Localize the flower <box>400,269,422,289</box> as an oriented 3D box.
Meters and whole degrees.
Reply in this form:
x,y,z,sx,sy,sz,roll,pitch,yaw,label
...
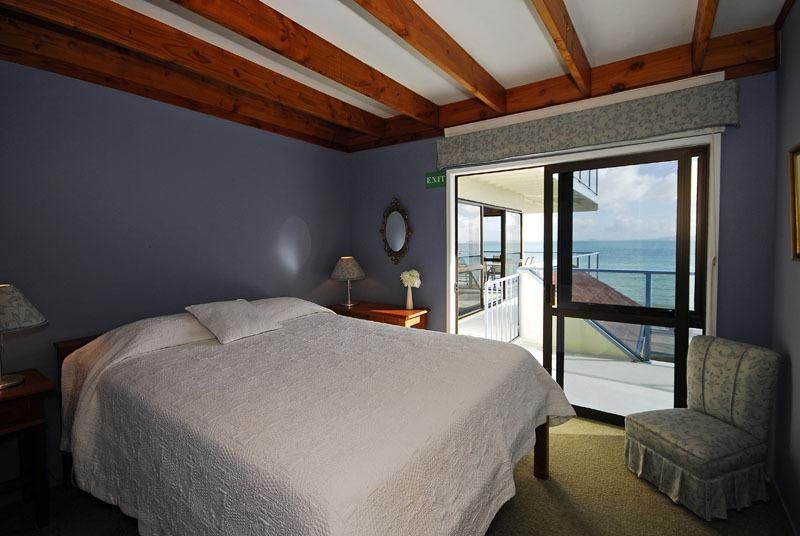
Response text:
x,y,z,sx,sy,sz,roll,pitch,yaw,label
0.110,0.147,5.779,0.243,0.237,0.200,1,6,12,flower

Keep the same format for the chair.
x,y,z,sx,sy,sz,roll,pitch,yaw,label
2.419,1.274,4.013,0.834,1.305,0.658,-3,6,-18,chair

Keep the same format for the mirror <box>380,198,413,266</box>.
x,y,z,sx,sy,sz,roll,pitch,yaw,label
-0.063,-0.432,5.895,0.431,0.804,0.071,4,8,38,mirror

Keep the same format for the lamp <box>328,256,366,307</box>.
x,y,z,sx,sy,sz,roll,pitch,yaw,label
-0.649,0.191,6.086,0.407,0.662,0.409,-4,14,-6,lamp
